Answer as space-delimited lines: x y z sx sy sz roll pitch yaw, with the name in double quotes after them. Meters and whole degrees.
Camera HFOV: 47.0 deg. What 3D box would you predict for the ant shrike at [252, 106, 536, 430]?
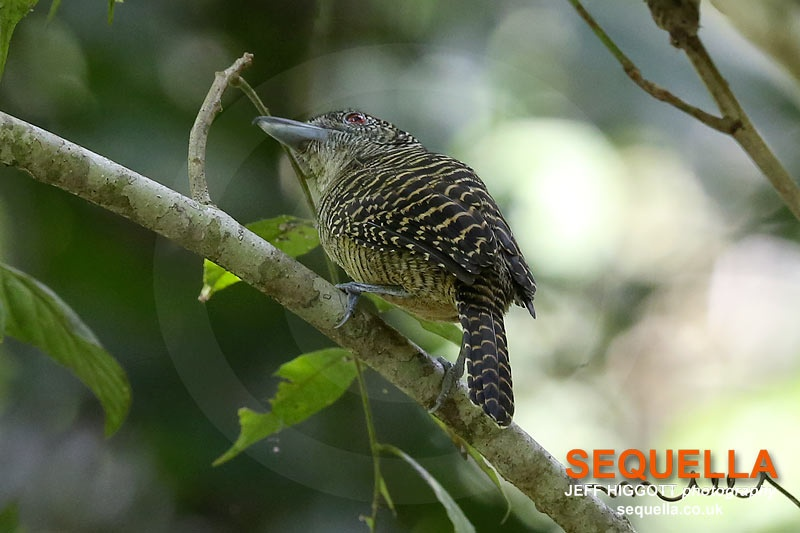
0.106 -0.106 5.218 2.474 0.967 1.115 29 97 38 "ant shrike"
